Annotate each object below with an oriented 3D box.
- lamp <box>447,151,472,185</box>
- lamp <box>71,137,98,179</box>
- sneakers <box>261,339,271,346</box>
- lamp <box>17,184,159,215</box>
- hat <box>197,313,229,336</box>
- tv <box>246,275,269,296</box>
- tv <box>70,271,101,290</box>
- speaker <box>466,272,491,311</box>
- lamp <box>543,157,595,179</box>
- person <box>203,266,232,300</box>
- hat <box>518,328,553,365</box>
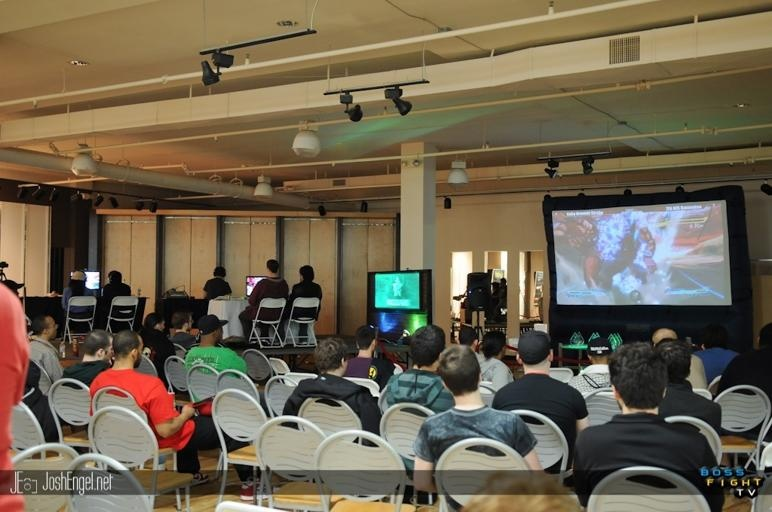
[{"bbox_3d":[1.237,-1.520,12.399,0.574,0.525,0.536,1,-5,-4],"label":"lamp"},{"bbox_3d":[-5.377,-1.766,12.496,0.369,0.728,1.514,0,-2,-22],"label":"lamp"},{"bbox_3d":[-2.053,1.477,12.024,0.163,0.143,0.108,1,-5,23],"label":"sneakers"},{"bbox_3d":[-7.451,-1.402,17.143,2.749,0.802,3.457,0,-2,-37],"label":"lamp"},{"bbox_3d":[-1.956,0.755,7.928,0.219,0.159,0.334,6,19,35],"label":"hat"},{"bbox_3d":[-2.351,0.543,12.765,0.540,0.447,0.052,0,3,11],"label":"tv"},{"bbox_3d":[-6.708,0.534,15.699,0.805,0.506,0.405,-1,-4,6],"label":"tv"},{"bbox_3d":[1.880,0.700,13.348,0.738,0.609,1.142,1,-8,8],"label":"speaker"},{"bbox_3d":[3.409,-1.706,13.144,0.813,0.425,1.236,-1,-2,11],"label":"lamp"},{"bbox_3d":[-3.322,0.568,13.777,0.613,0.722,0.500,7,-3,-10],"label":"person"},{"bbox_3d":[1.213,0.748,5.700,0.241,0.275,0.263,-2,-2,23],"label":"hat"}]
